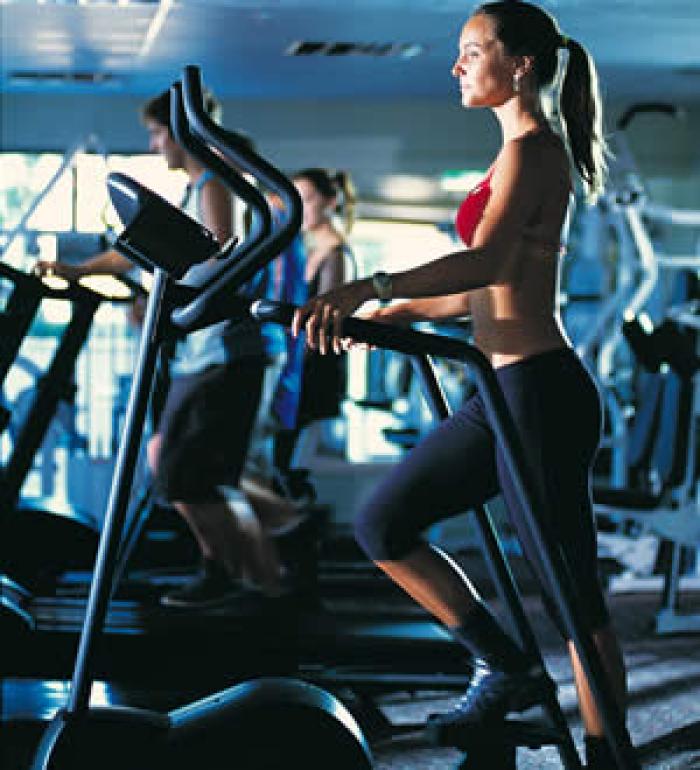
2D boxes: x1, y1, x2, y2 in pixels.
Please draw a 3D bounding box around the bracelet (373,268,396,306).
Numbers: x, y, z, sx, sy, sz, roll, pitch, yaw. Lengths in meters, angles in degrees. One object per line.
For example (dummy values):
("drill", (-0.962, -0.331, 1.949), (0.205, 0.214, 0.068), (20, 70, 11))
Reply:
("bracelet", (0.051, -0.155, 1.739), (0.037, 0.043, 0.048), (-4, 0, -20))
